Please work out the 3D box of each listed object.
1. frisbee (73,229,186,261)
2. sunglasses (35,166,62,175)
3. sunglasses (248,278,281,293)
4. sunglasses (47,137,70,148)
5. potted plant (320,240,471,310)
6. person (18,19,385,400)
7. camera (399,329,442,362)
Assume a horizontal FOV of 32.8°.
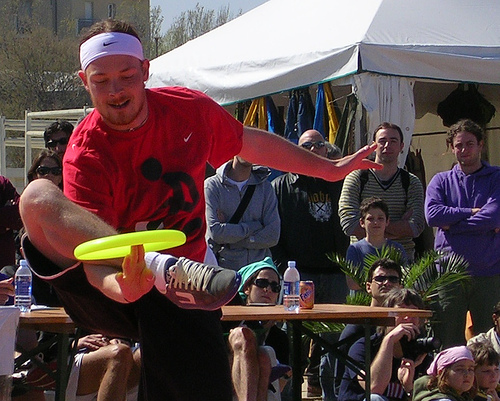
[{"bbox_3d":[-0.578,0.208,4.033,0.524,0.146,0.190,0,0,22],"label":"frisbee"},{"bbox_3d":[-1.891,-0.280,7.924,0.227,0.083,0.061,1,-1,-14],"label":"sunglasses"},{"bbox_3d":[0.124,0.728,7.333,0.286,0.126,0.095,1,0,-3],"label":"sunglasses"},{"bbox_3d":[-1.980,-0.591,8.683,0.310,0.112,0.096,0,0,30],"label":"sunglasses"},{"bbox_3d":[1.497,0.669,8.016,0.886,0.511,0.887,6,-7,-16],"label":"potted plant"},{"bbox_3d":[-0.509,0.036,4.626,1.099,2.053,1.328,0,-1,26],"label":"person"},{"bbox_3d":[1.353,1.136,6.865,0.296,0.175,0.368,-1,3,12],"label":"camera"}]
